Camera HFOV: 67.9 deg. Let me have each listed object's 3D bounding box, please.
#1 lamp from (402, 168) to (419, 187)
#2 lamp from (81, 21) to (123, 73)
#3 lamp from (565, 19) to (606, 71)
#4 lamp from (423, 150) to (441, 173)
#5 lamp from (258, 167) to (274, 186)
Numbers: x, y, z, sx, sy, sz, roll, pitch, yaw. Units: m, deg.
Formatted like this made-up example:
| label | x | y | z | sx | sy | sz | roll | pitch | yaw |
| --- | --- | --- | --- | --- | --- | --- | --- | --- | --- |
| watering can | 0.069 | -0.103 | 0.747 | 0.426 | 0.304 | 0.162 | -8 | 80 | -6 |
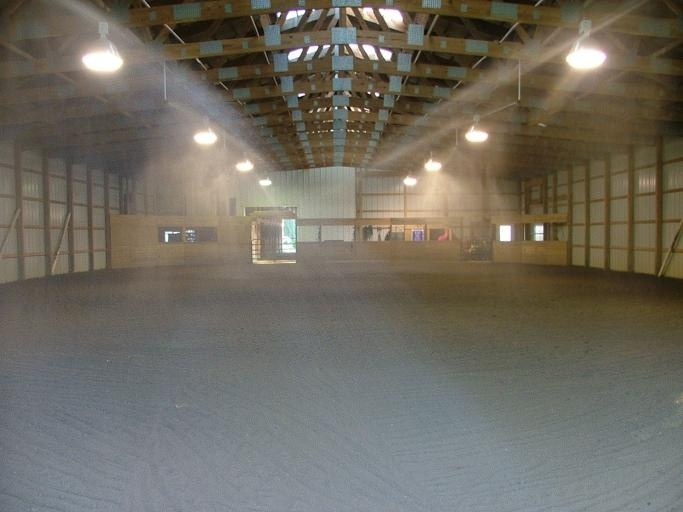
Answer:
| label | x | y | z | sx | sy | sz | roll | pitch | yaw |
| --- | --- | --- | --- | --- | --- | --- | --- | --- | --- |
| lamp | 3.920 | -4.355 | 28.444 | 0.937 | 1.004 | 0.956 | -4 | -3 | 37 |
| lamp | -4.287 | -3.765 | 8.957 | 0.558 | 0.828 | 0.599 | -8 | 14 | -36 |
| lamp | 4.421 | -3.850 | 9.062 | 0.566 | 0.821 | 0.631 | 9 | 14 | 37 |
| lamp | 4.369 | -4.642 | 24.546 | 1.111 | 1.262 | 1.151 | 0 | 11 | 6 |
| lamp | -4.524 | -4.579 | 30.081 | 1.056 | 1.192 | 1.159 | 0 | -6 | -9 |
